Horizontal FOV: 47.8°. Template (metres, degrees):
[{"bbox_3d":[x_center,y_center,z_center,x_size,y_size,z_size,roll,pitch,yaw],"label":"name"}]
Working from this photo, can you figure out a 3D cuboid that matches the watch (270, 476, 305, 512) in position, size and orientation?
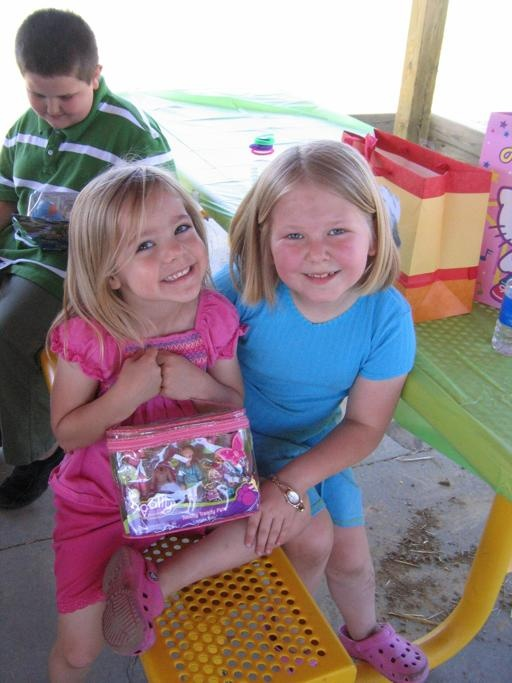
[{"bbox_3d":[0.058,0.280,1.082,0.020,0.050,0.057,-50,40,-5],"label":"watch"}]

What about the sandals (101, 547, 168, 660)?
[{"bbox_3d":[-0.185,0.387,0.873,0.090,0.094,0.160,-1,22,-12],"label":"sandals"}]
